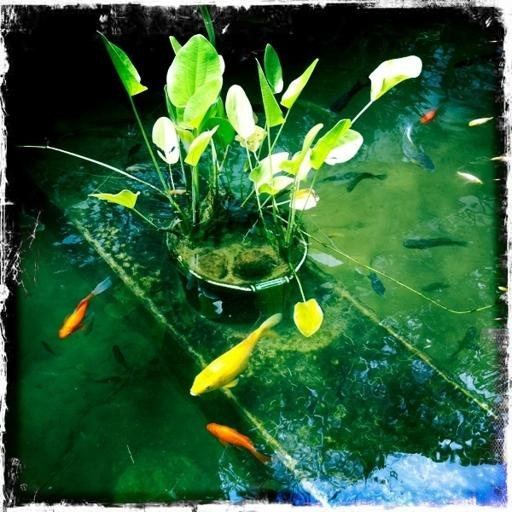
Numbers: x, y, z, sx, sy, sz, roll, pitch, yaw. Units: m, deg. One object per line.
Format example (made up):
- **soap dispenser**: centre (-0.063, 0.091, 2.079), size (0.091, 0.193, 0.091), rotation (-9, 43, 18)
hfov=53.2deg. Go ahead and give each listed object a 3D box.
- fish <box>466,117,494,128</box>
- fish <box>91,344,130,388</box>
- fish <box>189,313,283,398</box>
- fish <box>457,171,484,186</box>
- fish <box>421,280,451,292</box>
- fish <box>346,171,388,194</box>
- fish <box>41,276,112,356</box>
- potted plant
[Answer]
- **fish**: centre (0.672, -0.404, 1.538), size (0.080, 0.021, 0.023), rotation (-11, 23, -12)
- **fish**: centre (-0.294, 0.233, 1.083), size (0.063, 0.047, 0.081), rotation (4, 25, 23)
- **fish**: centre (-0.037, 0.212, 1.058), size (0.037, 0.072, 0.184), rotation (38, 58, 23)
- **fish**: centre (0.580, -0.213, 1.395), size (0.079, 0.026, 0.033), rotation (24, 24, 5)
- **fish**: centre (0.420, 0.072, 1.198), size (0.067, 0.013, 0.024), rotation (-11, 23, -13)
- **fish**: centre (0.310, -0.205, 1.437), size (0.104, 0.031, 0.054), rotation (-12, 49, -2)
- **fish**: centre (-0.402, 0.142, 1.152), size (0.033, 0.067, 0.147), rotation (33, 79, 4)
- **potted plant**: centre (-0.021, -0.198, 1.315), size (0.660, 0.637, 0.599), rotation (29, 63, 13)
